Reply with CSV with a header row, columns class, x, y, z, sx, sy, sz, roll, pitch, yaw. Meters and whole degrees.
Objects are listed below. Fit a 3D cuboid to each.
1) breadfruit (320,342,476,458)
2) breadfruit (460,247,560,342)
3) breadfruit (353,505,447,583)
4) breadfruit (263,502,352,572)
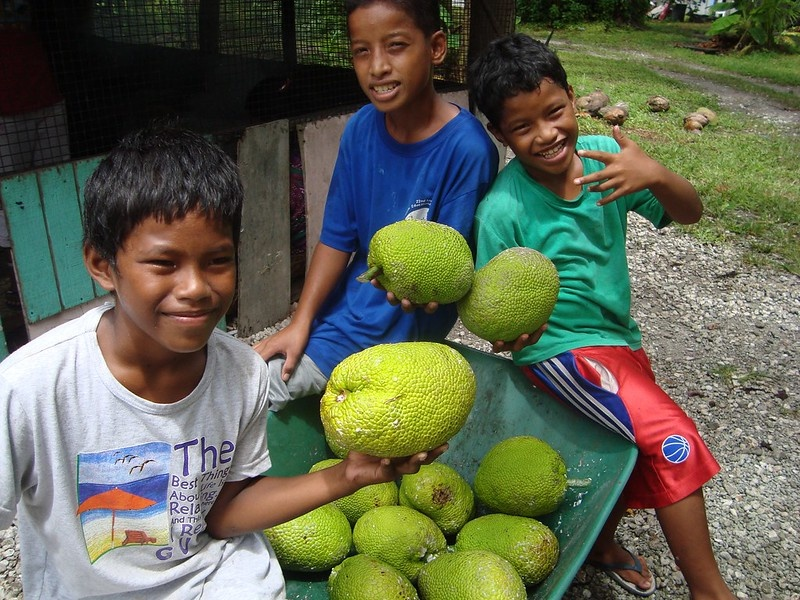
class,x,y,z,sx,sy,sz,roll,pitch,yaw
breadfruit,-0.012,0.282,1.828,0.405,0.259,0.314,-10,18,-13
breadfruit,0.405,-0.023,2.337,0.369,0.293,0.280,-29,14,-16
breadfruit,0.006,0.898,2.372,0.315,0.249,0.245,9,42,34
breadfruit,-0.340,0.905,2.343,0.241,0.188,0.327,-23,-10,21
